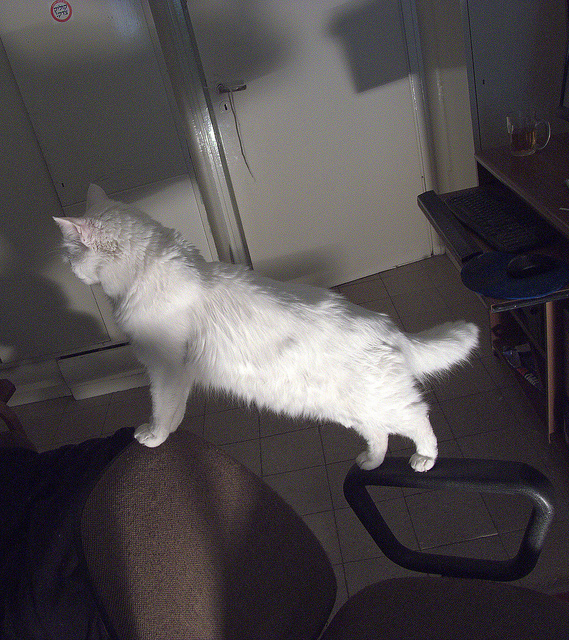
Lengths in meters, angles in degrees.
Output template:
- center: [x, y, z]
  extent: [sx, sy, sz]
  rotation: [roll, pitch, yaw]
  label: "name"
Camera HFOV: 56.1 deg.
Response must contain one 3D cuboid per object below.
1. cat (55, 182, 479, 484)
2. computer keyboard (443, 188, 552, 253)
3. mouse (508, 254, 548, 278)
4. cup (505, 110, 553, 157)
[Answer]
- center: [-0.091, 0.030, 1.712]
  extent: [1.544, 0.809, 0.355]
  rotation: [21, 36, -10]
  label: "cat"
- center: [0.663, -0.326, 1.695]
  extent: [0.183, 0.052, 0.495]
  rotation: [-16, 35, 1]
  label: "computer keyboard"
- center: [0.597, -0.133, 1.311]
  extent: [0.086, 0.028, 0.063]
  rotation: [-4, 37, 18]
  label: "mouse"
- center: [0.865, -0.650, 1.884]
  extent: [0.140, 0.144, 0.094]
  rotation: [2, 16, 29]
  label: "cup"
